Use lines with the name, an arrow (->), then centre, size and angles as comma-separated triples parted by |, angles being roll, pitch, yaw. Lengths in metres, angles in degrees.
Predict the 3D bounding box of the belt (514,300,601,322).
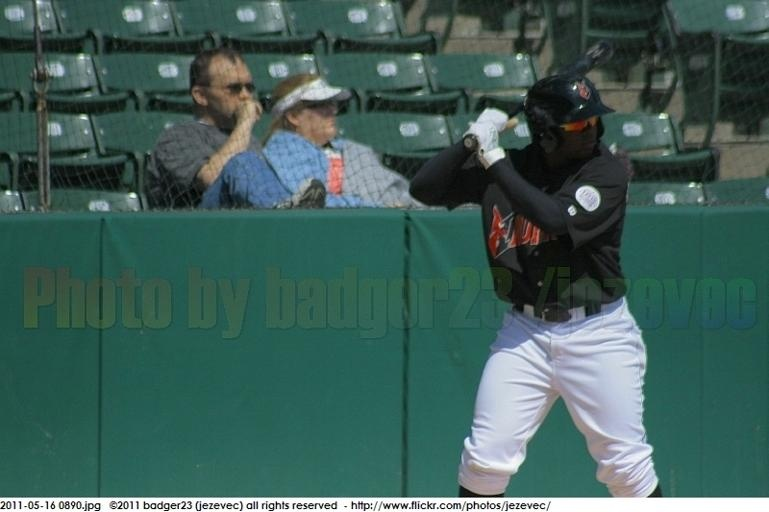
belt -> 0.959, 0.326, 8.449 | 0.450, 0.094, 0.144 | -2, 16, 10

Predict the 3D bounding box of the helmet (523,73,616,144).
helmet -> 1.012, -0.808, 8.434 | 0.457, 0.251, 0.337 | -2, 14, 34

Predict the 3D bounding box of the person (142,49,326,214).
person -> -0.779, -0.735, 9.597 | 1.231, 1.166, 0.813 | -6, -4, 28

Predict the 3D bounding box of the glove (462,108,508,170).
glove -> 0.564, -0.610, 8.429 | 0.207, 0.141, 0.337 | 25, 59, 16

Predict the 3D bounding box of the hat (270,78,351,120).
hat -> -0.474, -1.002, 9.679 | 0.379, 0.135, 0.258 | -8, -1, 12
